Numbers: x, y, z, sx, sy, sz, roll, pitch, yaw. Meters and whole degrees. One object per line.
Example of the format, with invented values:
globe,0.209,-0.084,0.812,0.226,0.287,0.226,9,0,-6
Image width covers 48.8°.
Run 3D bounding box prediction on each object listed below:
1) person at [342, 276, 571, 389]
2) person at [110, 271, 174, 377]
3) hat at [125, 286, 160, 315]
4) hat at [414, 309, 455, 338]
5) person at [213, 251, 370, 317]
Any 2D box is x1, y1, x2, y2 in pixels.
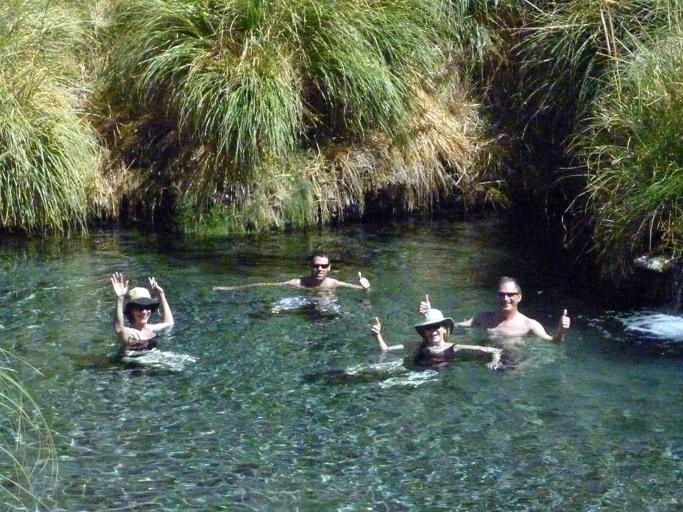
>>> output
person,1.178,0.806,7.498,1.114,0.495,1.629,8,18,40
person,-2.036,0.499,7.813,0.559,0.881,1.628,-3,7,-13
hat,-2.059,0.440,7.679,0.277,0.170,0.285,2,1,10
hat,0.903,0.633,7.390,0.257,0.153,0.318,-6,-19,4
person,-0.535,0.207,9.461,1.773,0.519,0.655,-1,7,10
